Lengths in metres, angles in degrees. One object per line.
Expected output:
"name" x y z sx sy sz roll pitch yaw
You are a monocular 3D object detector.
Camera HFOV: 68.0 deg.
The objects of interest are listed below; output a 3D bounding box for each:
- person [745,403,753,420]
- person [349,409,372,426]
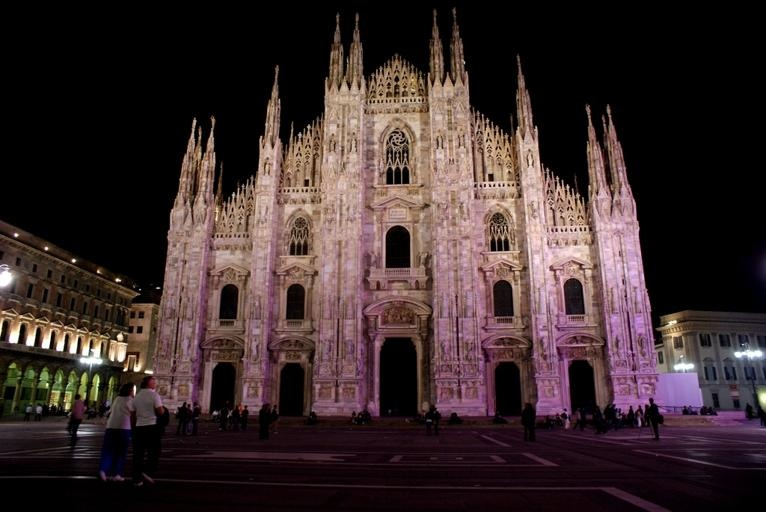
"person" 29.182 12.453 45.129 0.429 1.100 1.813 -13 -20 28
"person" -1.394 10.149 35.442 1.231 0.845 1.231 0 -18 -9
